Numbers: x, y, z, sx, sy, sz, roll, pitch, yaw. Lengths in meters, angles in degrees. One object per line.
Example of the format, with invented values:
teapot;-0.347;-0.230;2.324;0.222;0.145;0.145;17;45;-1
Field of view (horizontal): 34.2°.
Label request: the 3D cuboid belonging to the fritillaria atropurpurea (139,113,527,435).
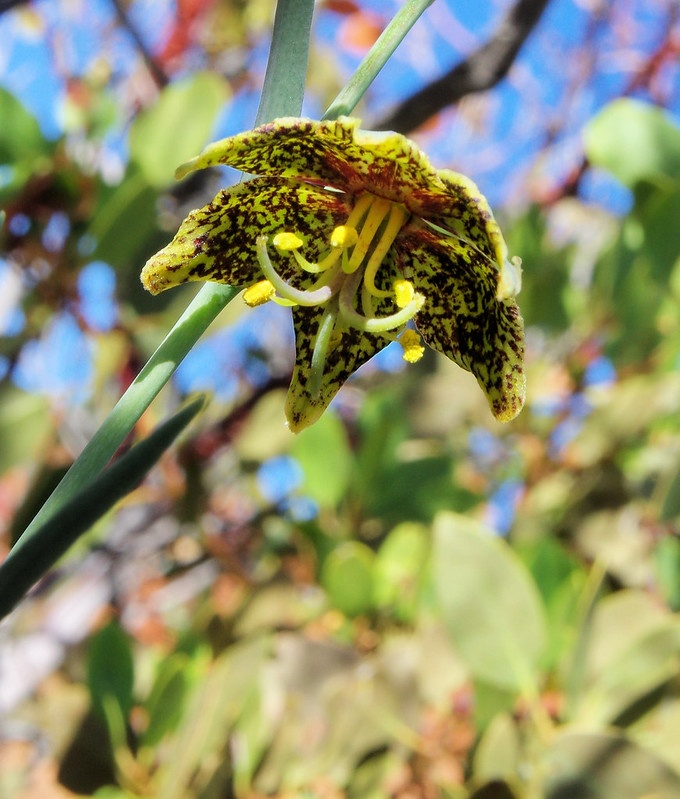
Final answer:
fritillaria atropurpurea;0.009;-0.156;1.136;0.427;0.384;0.170;21;69;17
